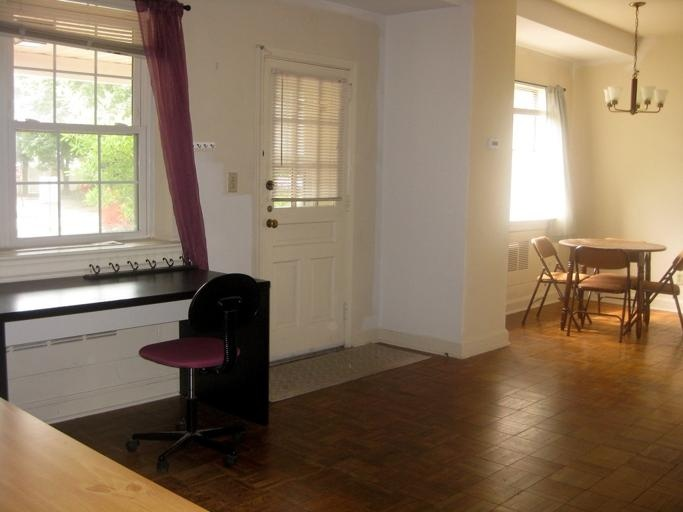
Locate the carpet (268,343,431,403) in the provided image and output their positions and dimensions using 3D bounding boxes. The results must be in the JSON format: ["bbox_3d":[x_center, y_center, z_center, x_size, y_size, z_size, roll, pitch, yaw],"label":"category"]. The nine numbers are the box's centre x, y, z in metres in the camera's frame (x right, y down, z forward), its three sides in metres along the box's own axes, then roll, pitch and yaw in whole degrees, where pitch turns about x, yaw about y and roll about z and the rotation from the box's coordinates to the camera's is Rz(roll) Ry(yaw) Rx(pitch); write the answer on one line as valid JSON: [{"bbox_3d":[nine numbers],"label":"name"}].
[{"bbox_3d":[-0.071,0.987,4.629,1.730,0.037,0.721,-5,10,-39],"label":"carpet"}]

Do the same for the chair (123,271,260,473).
[{"bbox_3d":[-0.882,0.639,2.988,0.613,0.954,0.629,-3,0,37],"label":"chair"}]

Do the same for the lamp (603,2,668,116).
[{"bbox_3d":[3.687,-2.330,6.351,0.692,1.282,2.169,5,8,28],"label":"lamp"}]
